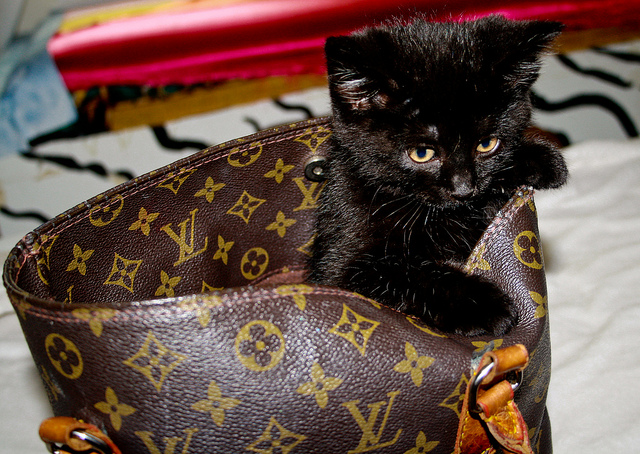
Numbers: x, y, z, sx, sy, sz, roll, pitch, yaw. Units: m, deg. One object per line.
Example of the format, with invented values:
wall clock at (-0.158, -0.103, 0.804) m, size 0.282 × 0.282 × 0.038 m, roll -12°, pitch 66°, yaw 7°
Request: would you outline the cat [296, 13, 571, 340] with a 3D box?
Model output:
cat at (0.194, -0.099, 1.204) m, size 0.519 × 0.541 × 0.536 m, roll -15°, pitch -59°, yaw -27°
